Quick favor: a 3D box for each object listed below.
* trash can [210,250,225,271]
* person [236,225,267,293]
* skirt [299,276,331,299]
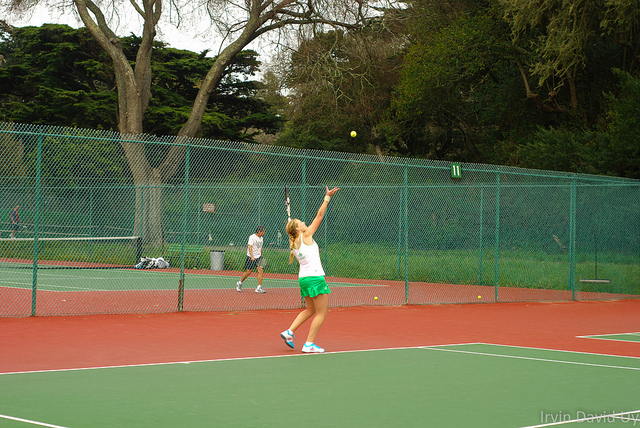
[{"bbox_3d":[-4.076,1.871,25.557,0.569,0.812,0.877,0,1,-12],"label":"trash can"},{"bbox_3d":[-2.072,1.404,19.810,0.802,2.051,1.073,0,1,-6],"label":"person"},{"bbox_3d":[-0.101,1.315,11.914,0.556,0.372,0.355,0,3,19],"label":"skirt"}]
